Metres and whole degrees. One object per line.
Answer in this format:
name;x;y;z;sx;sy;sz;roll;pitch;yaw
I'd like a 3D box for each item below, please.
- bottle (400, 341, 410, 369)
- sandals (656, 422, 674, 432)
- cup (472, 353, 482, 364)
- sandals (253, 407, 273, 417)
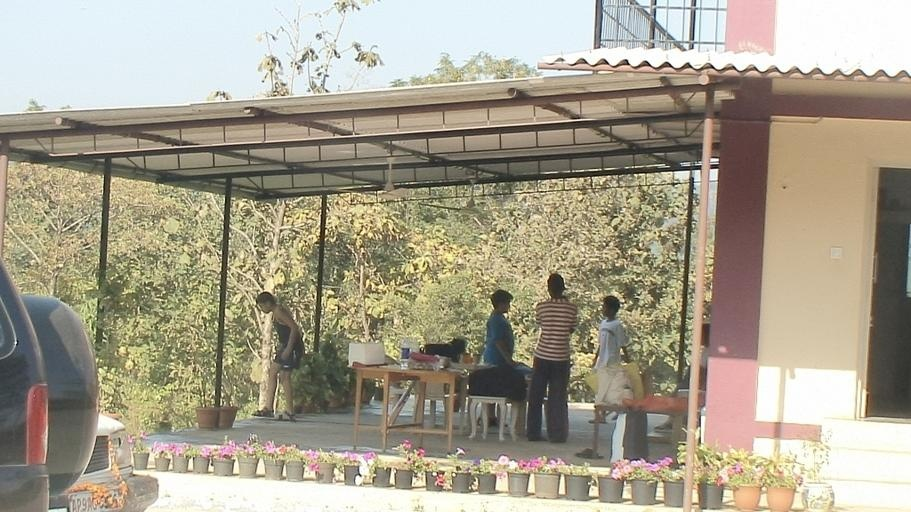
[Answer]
bottle;-1.053;2.124;30.981;0.201;0.552;0.389;3;-10;-2
sandals;4.756;3.880;33.325;0.526;0.200;0.178;1;-6;-6
cup;0.562;2.432;34.622;0.304;0.227;0.282;1;-4;0
sandals;-4.519;3.695;34.658;0.493;0.113;0.196;7;-9;-24
